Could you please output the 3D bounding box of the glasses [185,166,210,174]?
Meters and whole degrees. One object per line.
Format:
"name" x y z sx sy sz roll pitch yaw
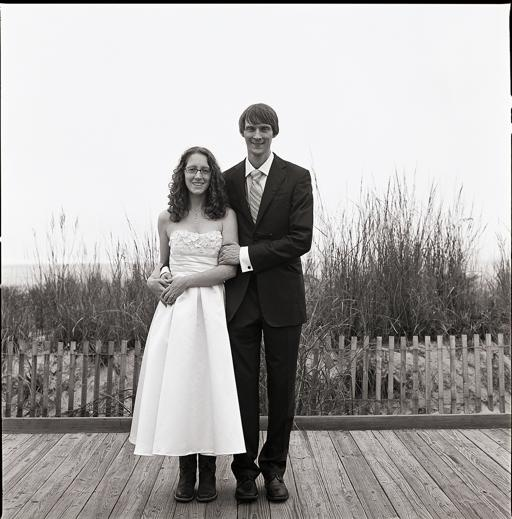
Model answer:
"glasses" -0.277 -0.421 2.299 0.108 0.031 0.039 0 1 -7

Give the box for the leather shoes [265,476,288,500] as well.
"leather shoes" 0.100 1.086 2.317 0.116 0.101 0.105 0 1 3

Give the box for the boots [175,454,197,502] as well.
"boots" -0.330 1.033 2.305 0.061 0.224 0.194 1 -6 1

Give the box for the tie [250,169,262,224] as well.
"tie" -0.003 -0.324 2.390 0.055 0.288 0.031 2 31 1

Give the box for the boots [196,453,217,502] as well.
"boots" -0.234 1.026 2.306 0.062 0.210 0.180 -2 9 0

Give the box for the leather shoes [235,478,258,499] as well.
"leather shoes" -0.045 1.086 2.290 0.106 0.101 0.068 0 2 -1
